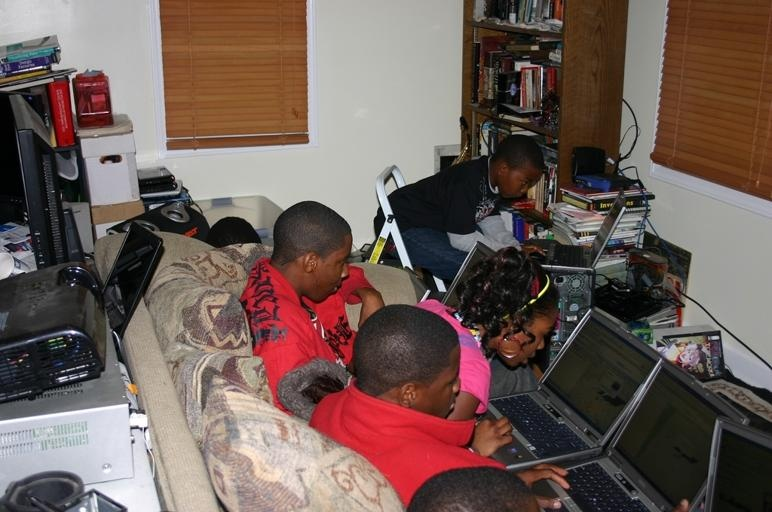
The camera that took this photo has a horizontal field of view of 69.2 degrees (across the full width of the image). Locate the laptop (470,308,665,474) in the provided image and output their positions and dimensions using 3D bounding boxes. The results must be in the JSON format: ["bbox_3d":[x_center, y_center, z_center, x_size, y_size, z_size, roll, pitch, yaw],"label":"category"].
[{"bbox_3d":[0.750,0.569,2.359,0.674,0.421,0.476,-10,26,-15],"label":"laptop"}]

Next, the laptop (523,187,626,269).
[{"bbox_3d":[1.076,-0.059,3.114,0.515,0.351,0.580,7,12,8],"label":"laptop"}]

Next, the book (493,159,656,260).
[{"bbox_3d":[1.412,-0.297,3.837,0.753,0.278,0.611,-10,27,-25],"label":"book"}]

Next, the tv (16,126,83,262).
[{"bbox_3d":[-1.447,-0.232,2.389,0.135,0.615,0.209,16,29,35],"label":"tv"}]

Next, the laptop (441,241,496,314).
[{"bbox_3d":[0.408,0.098,2.781,0.184,0.230,0.222,37,68,8],"label":"laptop"}]

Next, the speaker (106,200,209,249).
[{"bbox_3d":[-1.487,-0.235,3.806,0.357,0.239,0.672,27,32,32],"label":"speaker"}]
